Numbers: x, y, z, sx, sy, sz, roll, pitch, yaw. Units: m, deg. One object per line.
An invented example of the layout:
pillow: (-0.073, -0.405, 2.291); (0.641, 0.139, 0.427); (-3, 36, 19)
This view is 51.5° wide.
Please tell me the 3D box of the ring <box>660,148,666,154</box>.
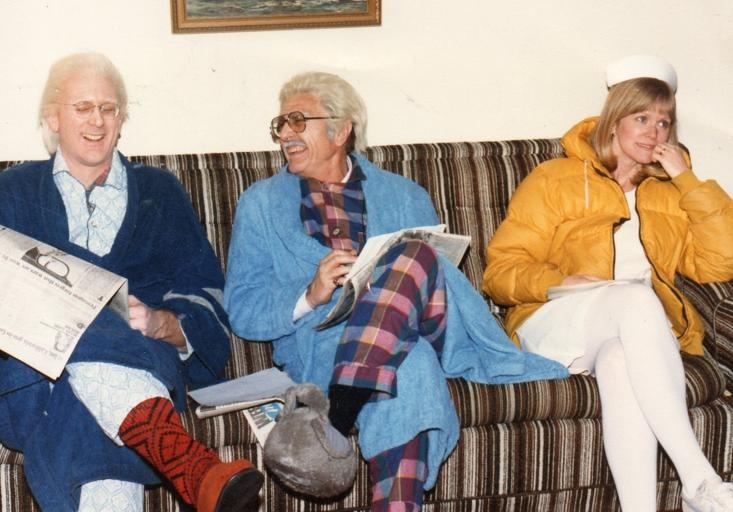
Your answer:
ring: (1.111, -0.394, 2.839); (0.016, 0.022, 0.008); (3, -13, 17)

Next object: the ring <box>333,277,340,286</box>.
ring: (-0.100, 0.078, 2.434); (0.020, 0.027, 0.008); (-4, 18, 4)
